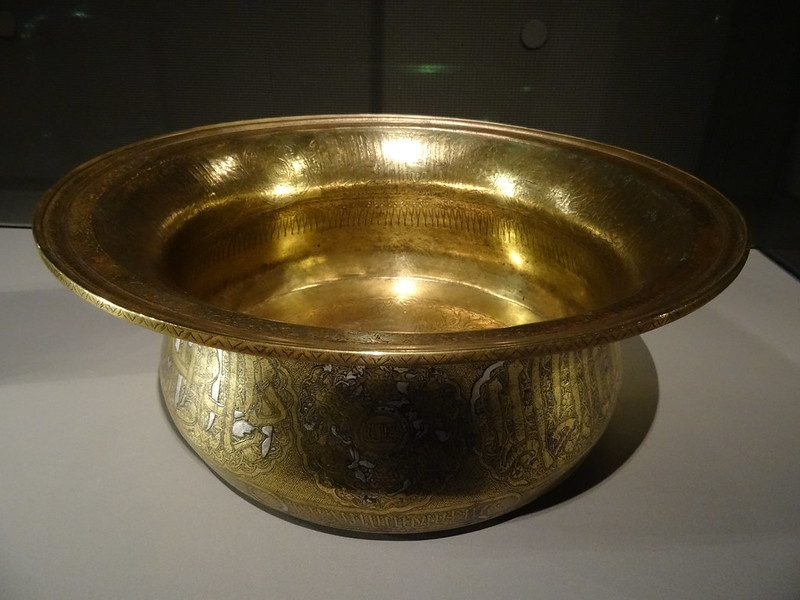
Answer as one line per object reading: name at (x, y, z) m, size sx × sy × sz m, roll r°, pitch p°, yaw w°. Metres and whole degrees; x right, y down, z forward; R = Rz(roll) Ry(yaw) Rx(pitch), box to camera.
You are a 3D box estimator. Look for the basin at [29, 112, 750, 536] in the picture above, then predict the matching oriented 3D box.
basin at (-0.008, -0.058, 1.692) m, size 1.492 × 0.622 × 1.158 m, roll 14°, pitch 46°, yaw 16°
